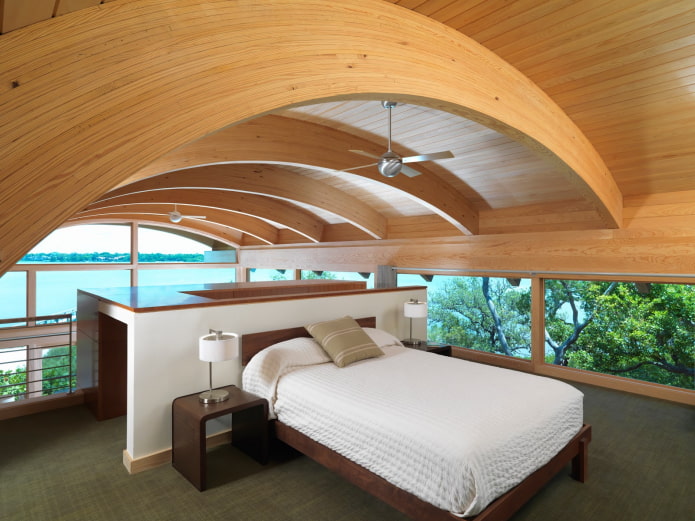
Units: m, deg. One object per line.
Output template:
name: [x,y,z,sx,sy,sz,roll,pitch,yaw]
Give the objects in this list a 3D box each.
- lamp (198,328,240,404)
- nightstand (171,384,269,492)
lamp: [-1.118,0.893,4.124,0.315,0.613,0.490,-2,11,-17]
nightstand: [-1.088,1.450,4.061,0.657,0.512,0.503,-1,2,-45]
